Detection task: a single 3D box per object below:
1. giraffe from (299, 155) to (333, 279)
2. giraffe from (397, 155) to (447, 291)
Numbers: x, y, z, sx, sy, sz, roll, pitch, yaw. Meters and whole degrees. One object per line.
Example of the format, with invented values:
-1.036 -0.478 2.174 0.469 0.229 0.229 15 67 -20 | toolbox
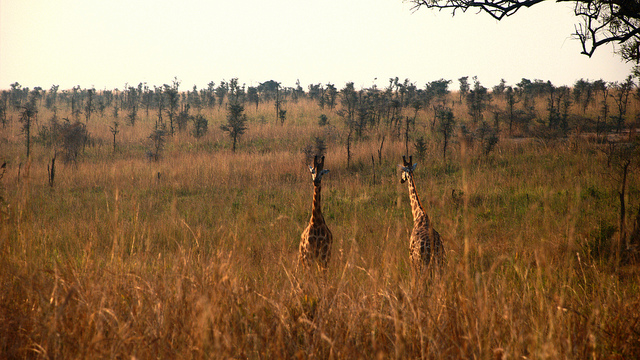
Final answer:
-0.129 1.885 45.839 1.735 6.426 2.366 2 6 0 | giraffe
5.537 2.012 45.677 2.425 6.539 3.610 1 6 -4 | giraffe
